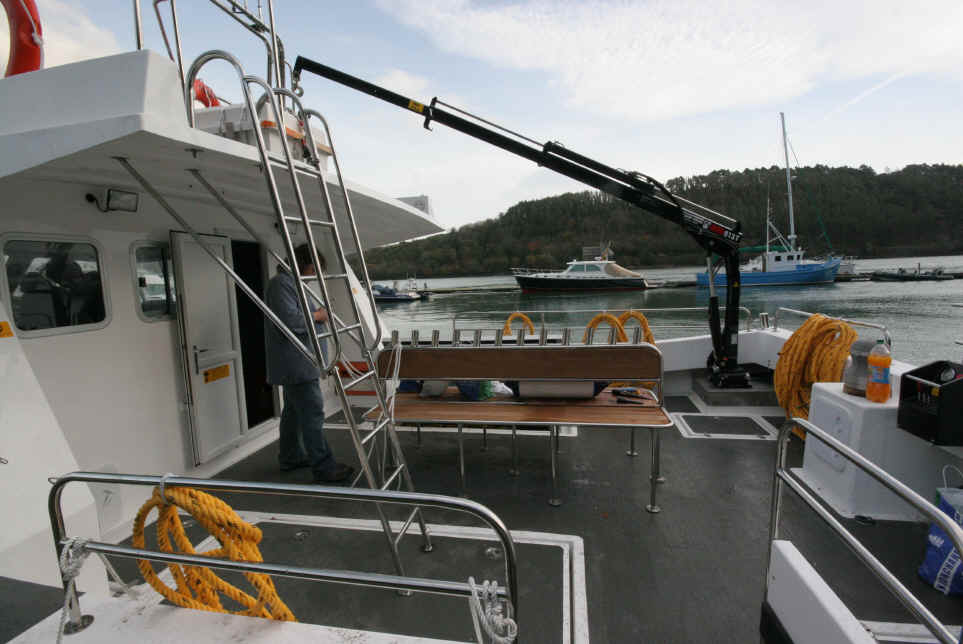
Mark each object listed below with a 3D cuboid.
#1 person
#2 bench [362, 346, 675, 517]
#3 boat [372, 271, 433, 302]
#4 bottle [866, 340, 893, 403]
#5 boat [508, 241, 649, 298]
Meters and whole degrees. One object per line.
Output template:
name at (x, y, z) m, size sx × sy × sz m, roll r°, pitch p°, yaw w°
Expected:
person at (-1.629, 0.400, 6.091) m, size 0.633 × 2.214 × 0.892 m, roll -7°, pitch 8°, yaw -21°
bench at (0.281, 0.861, 5.964) m, size 2.578 × 1.289 × 0.781 m, roll 0°, pitch 13°, yaw 3°
boat at (-5.790, -2.261, 48.059) m, size 2.721 × 1.725 × 4.991 m, roll -2°, pitch 8°, yaw 12°
bottle at (3.324, 0.412, 5.584) m, size 0.166 × 0.482 × 0.260 m, roll 1°, pitch 9°, yaw 30°
boat at (5.804, -2.762, 40.540) m, size 7.154 × 2.040 × 3.109 m, roll 3°, pitch 10°, yaw 41°
